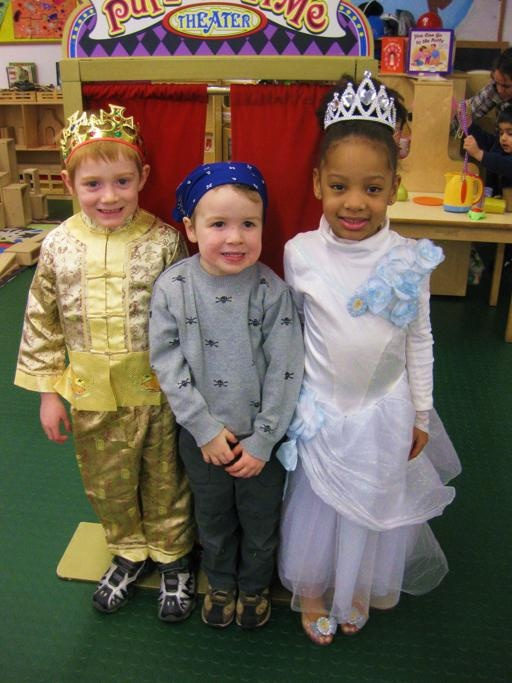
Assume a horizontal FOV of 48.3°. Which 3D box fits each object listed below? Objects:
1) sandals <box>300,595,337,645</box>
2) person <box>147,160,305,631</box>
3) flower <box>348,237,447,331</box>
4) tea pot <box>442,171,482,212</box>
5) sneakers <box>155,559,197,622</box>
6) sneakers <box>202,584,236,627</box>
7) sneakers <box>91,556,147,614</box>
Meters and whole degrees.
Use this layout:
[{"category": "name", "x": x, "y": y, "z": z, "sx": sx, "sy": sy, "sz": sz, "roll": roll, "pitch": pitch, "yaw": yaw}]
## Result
[{"category": "sandals", "x": 0.136, "y": 0.608, "z": 1.250, "sx": 0.067, "sy": 0.037, "sz": 0.104, "roll": 2, "pitch": 26, "yaw": -23}, {"category": "person", "x": -0.062, "y": 0.145, "z": 1.165, "sx": 0.301, "sy": 0.960, "sz": 0.333, "roll": 6, "pitch": 30, "yaw": 8}, {"category": "flower", "x": 0.264, "y": -0.101, "z": 1.066, "sx": 0.095, "sy": 0.152, "sz": 0.166, "roll": 26, "pitch": 37, "yaw": 37}, {"category": "tea pot", "x": 0.939, "y": -0.686, "z": 2.594, "sx": 0.222, "sy": 0.197, "sz": 0.153, "roll": 3, "pitch": 26, "yaw": 8}, {"category": "sneakers", "x": -0.178, "y": 0.562, "z": 1.298, "sx": 0.057, "sy": 0.067, "sz": 0.147, "roll": -2, "pitch": 14, "yaw": 1}, {"category": "sneakers", "x": -0.088, "y": 0.587, "z": 1.259, "sx": 0.045, "sy": 0.046, "sz": 0.113, "roll": 4, "pitch": 14, "yaw": -2}, {"category": "sneakers", "x": -0.310, "y": 0.554, "z": 1.351, "sx": 0.060, "sy": 0.067, "sz": 0.158, "roll": 19, "pitch": 22, "yaw": 11}]
